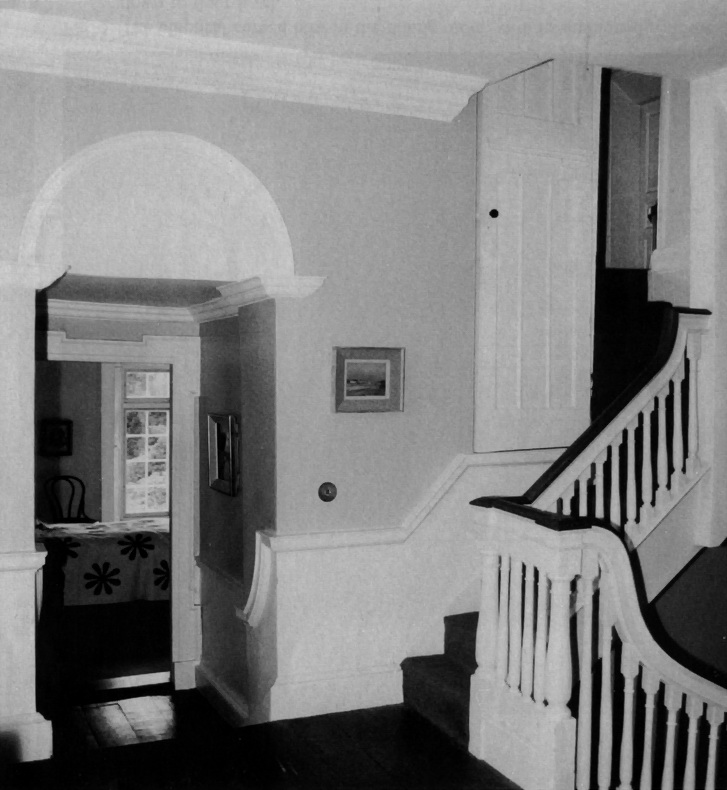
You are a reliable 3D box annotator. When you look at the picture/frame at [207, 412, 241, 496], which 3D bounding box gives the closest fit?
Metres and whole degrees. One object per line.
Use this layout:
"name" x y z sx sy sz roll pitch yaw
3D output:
"picture/frame" -0.455 0.190 2.956 0.032 0.362 0.247 -1 1 -25
